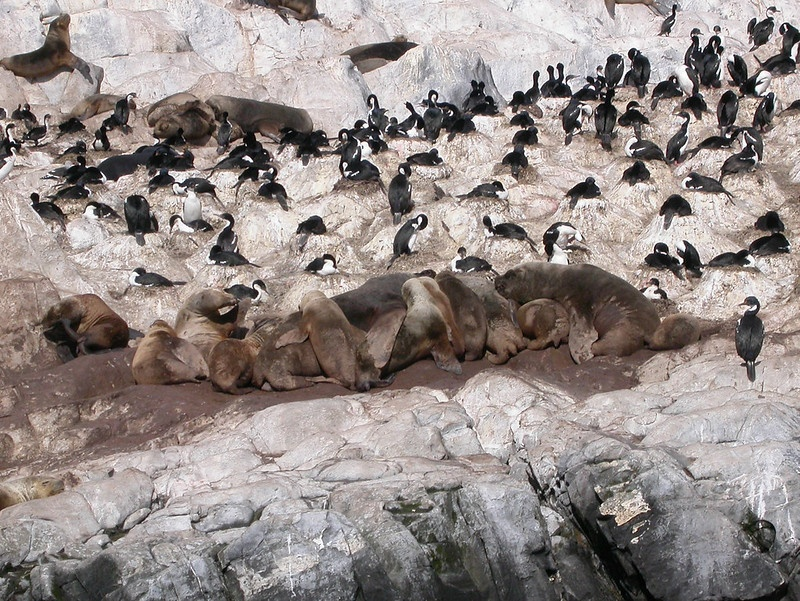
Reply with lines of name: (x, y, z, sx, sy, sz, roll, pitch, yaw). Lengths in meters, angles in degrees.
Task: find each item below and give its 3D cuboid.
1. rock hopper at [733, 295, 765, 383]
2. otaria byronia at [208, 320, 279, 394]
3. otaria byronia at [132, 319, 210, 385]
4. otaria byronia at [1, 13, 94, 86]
rock hopper: (4.107, 0.428, 11.598, 0.350, 0.966, 0.678, 6, -40, 11)
otaria byronia: (-2.148, 0.784, 13.384, 0.835, 0.889, 0.820, -3, 13, -9)
otaria byronia: (-3.333, 0.716, 14.195, 1.140, 0.797, 1.904, 0, 17, -16)
otaria byronia: (-9.943, -7.433, 28.641, 3.423, 1.766, 1.209, -25, 44, -35)
